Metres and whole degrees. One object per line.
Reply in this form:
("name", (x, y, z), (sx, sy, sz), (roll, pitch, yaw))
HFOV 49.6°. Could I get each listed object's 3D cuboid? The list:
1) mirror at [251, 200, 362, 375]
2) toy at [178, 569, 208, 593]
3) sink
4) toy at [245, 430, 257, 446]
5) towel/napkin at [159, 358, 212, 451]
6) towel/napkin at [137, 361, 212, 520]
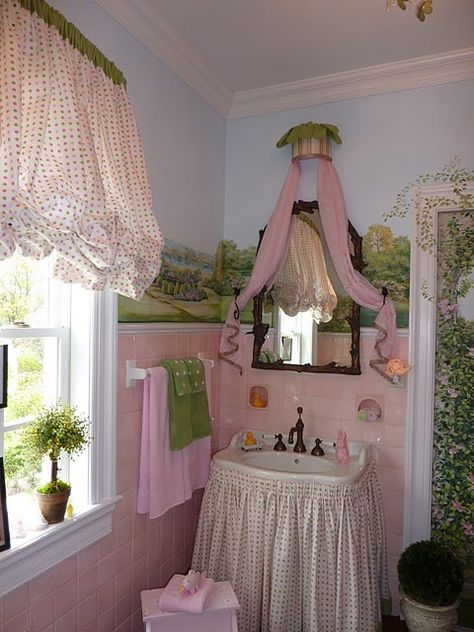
("mirror", (0.376, -0.132, 2.695), (0.545, 0.889, 0.018), (3, -13, 13))
("toy", (-0.170, 0.983, 1.918), (0.038, 0.059, 0.117), (-10, -13, 19))
("sink", (0.245, 0.670, 2.375), (0.692, 0.149, 0.541), (0, -1, 22))
("toy", (0.070, 0.621, 2.638), (0.053, 0.077, 0.051), (-5, -9, -42))
("towel/napkin", (-0.217, 0.366, 2.214), (0.087, 0.360, 0.360), (-8, -4, 21))
("towel/napkin", (-0.269, 0.542, 2.208), (0.175, 0.674, 0.476), (0, -1, 15))
